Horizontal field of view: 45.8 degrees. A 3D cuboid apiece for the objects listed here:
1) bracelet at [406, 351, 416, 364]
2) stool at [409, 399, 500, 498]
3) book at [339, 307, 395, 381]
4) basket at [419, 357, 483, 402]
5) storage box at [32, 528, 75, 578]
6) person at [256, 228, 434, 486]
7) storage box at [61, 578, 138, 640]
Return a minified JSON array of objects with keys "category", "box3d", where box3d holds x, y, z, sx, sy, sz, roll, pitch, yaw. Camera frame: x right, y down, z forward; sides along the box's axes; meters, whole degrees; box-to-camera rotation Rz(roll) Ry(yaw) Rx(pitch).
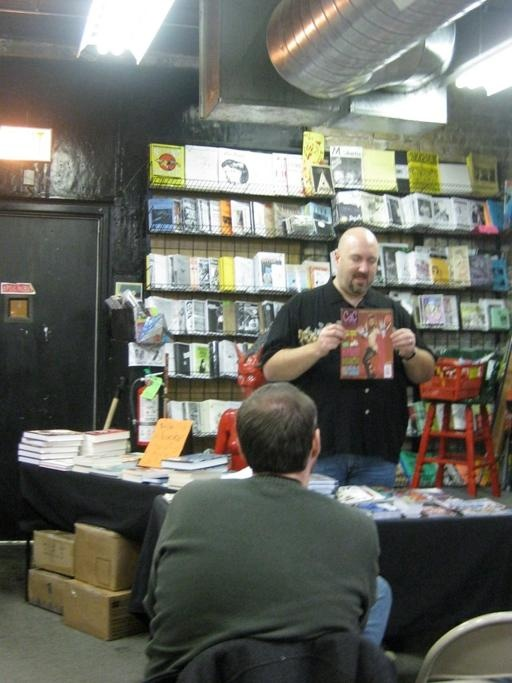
[{"category":"bracelet","box3d":[0.626,0.065,2.476,0.041,0.054,0.055,6,13,13]},{"category":"stool","box3d":[1.643,0.896,5.157,0.641,0.777,0.623,-1,-16,38]},{"category":"book","box3d":[0.428,0.009,2.360,0.271,0.356,0.035,-1,3,-9]},{"category":"basket","box3d":[1.510,0.336,5.059,0.454,0.238,0.452,0,-1,-14]},{"category":"storage box","box3d":[-1.030,1.093,3.202,0.263,0.168,0.147,5,4,24]},{"category":"person","box3d":[0.377,0.336,2.553,0.700,1.600,0.590,2,-2,9]},{"category":"storage box","box3d":[-0.762,1.281,2.937,0.331,0.209,0.182,0,-3,35]}]
